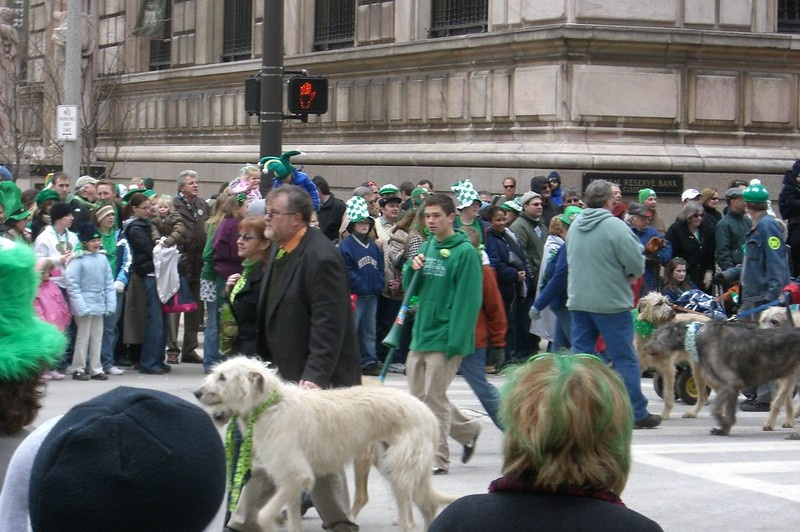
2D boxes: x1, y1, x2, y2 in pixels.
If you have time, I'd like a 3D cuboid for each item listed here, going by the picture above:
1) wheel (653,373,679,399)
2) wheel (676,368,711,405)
[{"bbox_3d":[4.006,1.854,23.860,0.525,0.404,0.443,0,3,3],"label":"wheel"},{"bbox_3d":[4.519,1.849,23.655,0.185,0.449,0.548,2,-10,-43],"label":"wheel"}]
